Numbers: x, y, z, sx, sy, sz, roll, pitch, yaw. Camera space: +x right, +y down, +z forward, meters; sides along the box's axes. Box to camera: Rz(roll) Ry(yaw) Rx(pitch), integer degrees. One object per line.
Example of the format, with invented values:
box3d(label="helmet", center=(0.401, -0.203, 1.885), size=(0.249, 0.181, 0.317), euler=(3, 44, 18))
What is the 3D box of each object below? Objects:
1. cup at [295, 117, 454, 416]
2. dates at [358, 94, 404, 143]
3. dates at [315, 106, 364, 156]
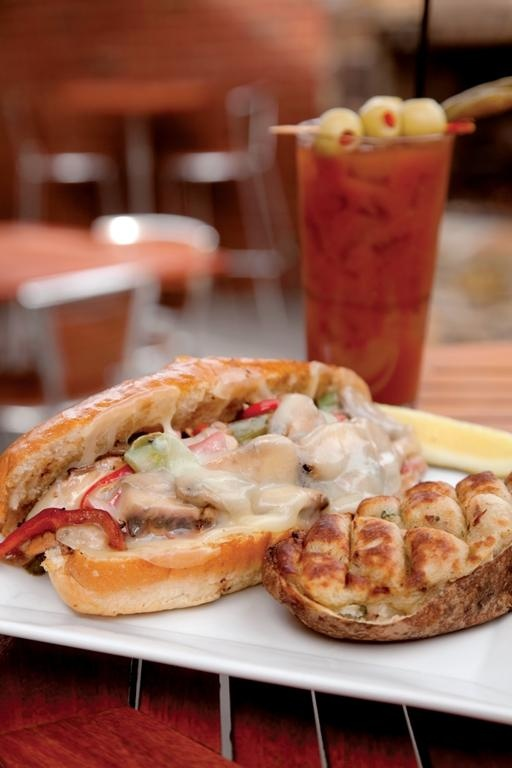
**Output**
box3d(label="cup", center=(0.254, -0.231, 1.567), size=(0.323, 0.542, 0.337), euler=(-1, 15, 0))
box3d(label="dates", center=(0.229, -0.476, 1.299), size=(0.081, 0.089, 0.049), euler=(-7, 36, 21))
box3d(label="dates", center=(0.154, -0.475, 1.350), size=(0.086, 0.073, 0.162), euler=(2, 28, 4))
